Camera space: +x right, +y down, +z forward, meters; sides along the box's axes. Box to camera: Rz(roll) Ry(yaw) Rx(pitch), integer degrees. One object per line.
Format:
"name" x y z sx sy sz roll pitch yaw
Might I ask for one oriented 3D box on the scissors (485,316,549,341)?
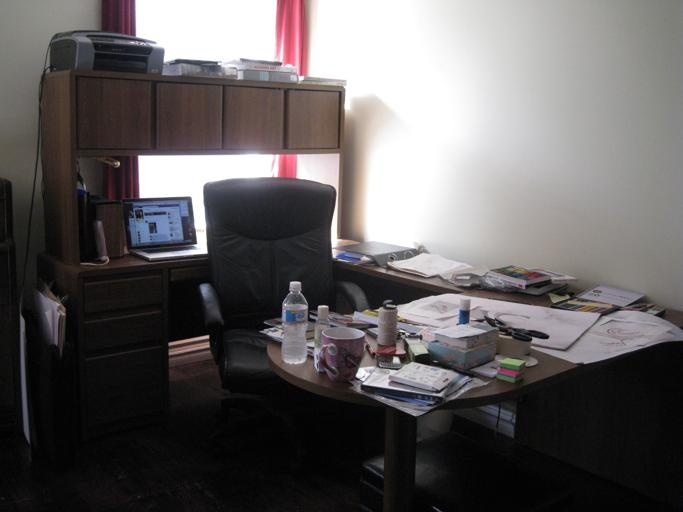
"scissors" 0.669 0.259 2.154 0.089 0.025 0.166 -3 11 -31

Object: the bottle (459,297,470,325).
"bottle" 0.465 0.219 2.113 0.041 0.096 0.135 4 13 12

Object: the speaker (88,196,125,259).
"speaker" -1.230 -0.141 2.903 0.110 0.260 0.309 -5 8 -28

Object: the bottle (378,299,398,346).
"bottle" 0.171 0.240 2.061 0.072 0.147 0.158 2 13 5

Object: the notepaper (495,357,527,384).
"notepaper" 0.558 0.360 1.830 0.079 0.056 0.078 10 16 35

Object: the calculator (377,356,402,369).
"calculator" 0.163 0.363 1.914 0.050 0.016 0.050 1 2 33

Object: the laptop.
"laptop" -0.969 -0.167 3.072 0.515 0.280 0.522 3 12 13

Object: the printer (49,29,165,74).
"printer" -1.228 -1.046 2.872 0.598 0.207 0.330 -1 13 -11

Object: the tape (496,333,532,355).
"tape" 0.625 0.328 2.043 0.084 0.059 0.084 3 11 16

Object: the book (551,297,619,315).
"book" 1.068 0.220 2.459 0.257 0.024 0.244 -11 18 -41

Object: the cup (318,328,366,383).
"cup" -0.015 0.329 1.817 0.136 0.147 0.214 7 11 30

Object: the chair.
"chair" -0.311 0.318 2.773 0.878 1.273 0.897 4 13 6
